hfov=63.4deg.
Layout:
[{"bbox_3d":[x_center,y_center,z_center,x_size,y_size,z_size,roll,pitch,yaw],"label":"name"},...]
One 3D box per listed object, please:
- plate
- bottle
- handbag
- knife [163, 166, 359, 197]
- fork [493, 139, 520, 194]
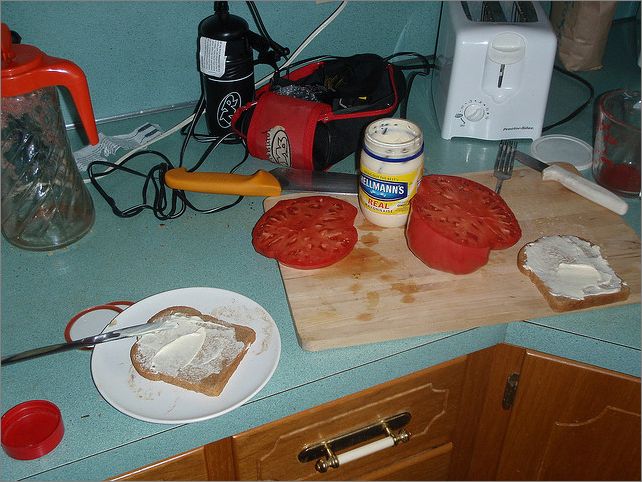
[{"bbox_3d":[-0.199,0.167,0.784,0.275,0.076,0.220,-3,33,-5],"label":"plate"},{"bbox_3d":[0.134,-0.114,0.942,0.127,0.165,0.112,-4,32,-1],"label":"bottle"},{"bbox_3d":[0.034,-0.304,1.153,0.287,0.144,0.387,26,56,30],"label":"handbag"},{"bbox_3d":[-0.118,-0.114,1.023,0.407,0.028,0.054,3,52,-9],"label":"knife"},{"bbox_3d":[0.374,-0.158,1.053,0.035,0.027,0.181,9,60,16],"label":"fork"}]
